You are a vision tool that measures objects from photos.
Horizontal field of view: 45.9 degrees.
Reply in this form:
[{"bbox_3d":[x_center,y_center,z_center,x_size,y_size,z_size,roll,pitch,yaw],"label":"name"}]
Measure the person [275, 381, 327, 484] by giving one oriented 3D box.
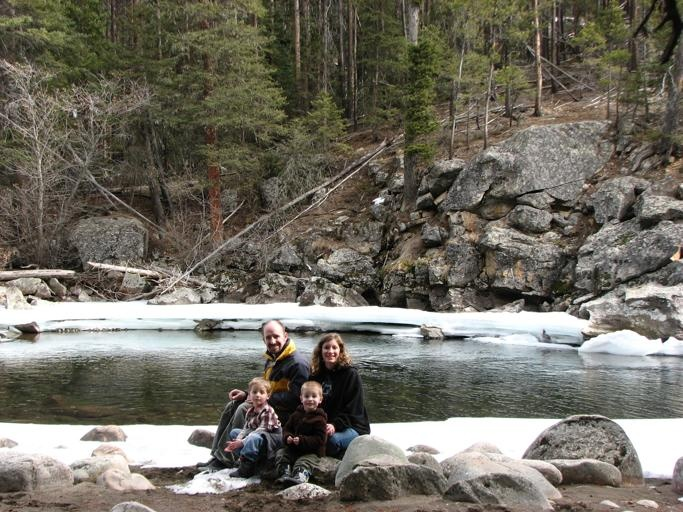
[{"bbox_3d":[-1.084,4.653,21.148,1.009,2.505,1.301,8,16,32],"label":"person"}]
